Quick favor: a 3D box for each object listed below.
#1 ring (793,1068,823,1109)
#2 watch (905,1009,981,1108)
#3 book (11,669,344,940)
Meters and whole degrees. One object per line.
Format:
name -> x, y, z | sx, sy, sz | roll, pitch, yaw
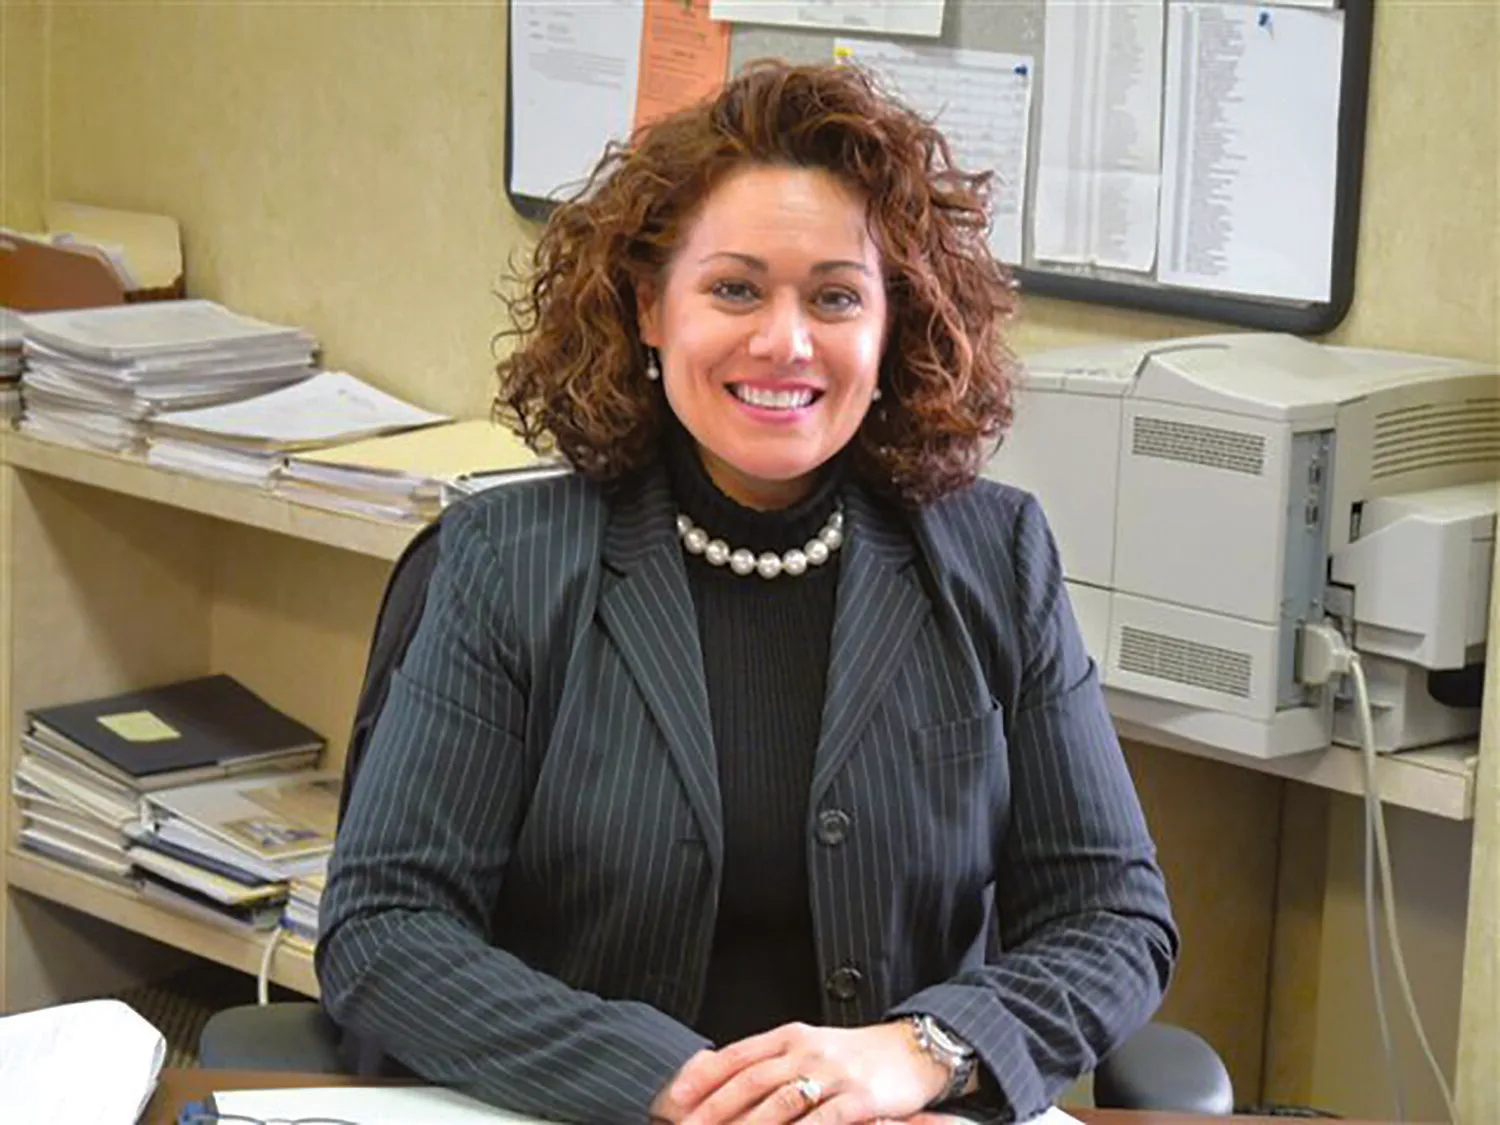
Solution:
ring -> 0.045, 0.410, 1.047 | 0.018, 0.010, 0.020 | 32, 8, -46
watch -> 0.152, 0.401, 1.098 | 0.062, 0.070, 0.044 | 7, 11, 4
book -> -0.938, 0.385, 2.227 | 0.454, 0.166, 0.362 | -7, 20, -42
